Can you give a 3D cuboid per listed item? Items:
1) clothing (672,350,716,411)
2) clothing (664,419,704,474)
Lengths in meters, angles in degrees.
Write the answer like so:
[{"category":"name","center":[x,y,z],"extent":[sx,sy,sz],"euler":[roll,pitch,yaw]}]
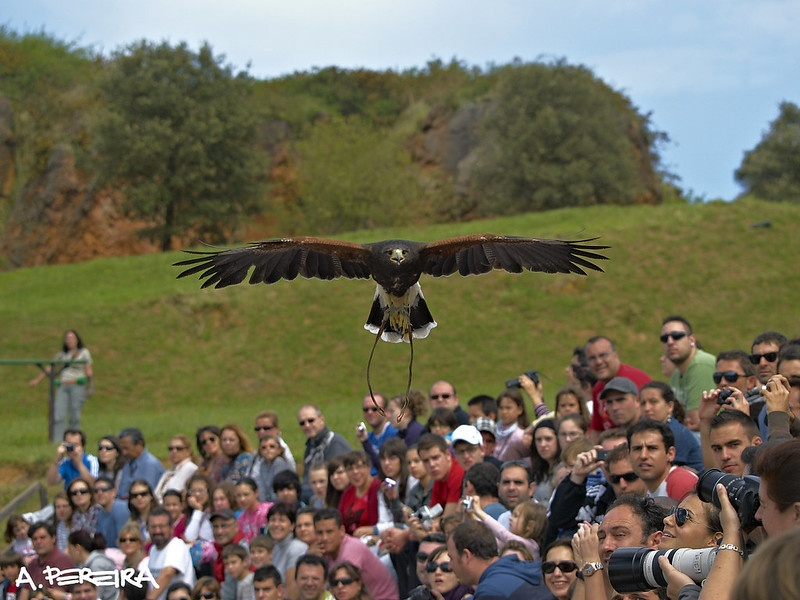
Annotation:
[{"category":"clothing","center":[6.816,1.884,49.581],"extent":[1.048,1.423,0.870],"euler":[0,0,8]},{"category":"clothing","center":[6.476,3.303,48.290],"extent":[0.791,1.198,0.626],"euler":[0,0,3]}]
